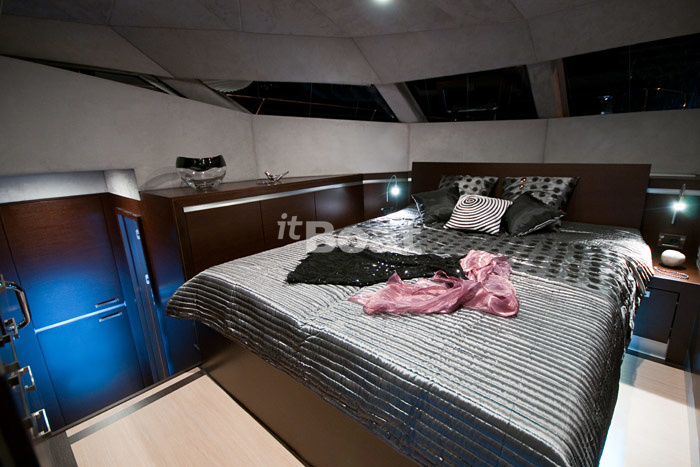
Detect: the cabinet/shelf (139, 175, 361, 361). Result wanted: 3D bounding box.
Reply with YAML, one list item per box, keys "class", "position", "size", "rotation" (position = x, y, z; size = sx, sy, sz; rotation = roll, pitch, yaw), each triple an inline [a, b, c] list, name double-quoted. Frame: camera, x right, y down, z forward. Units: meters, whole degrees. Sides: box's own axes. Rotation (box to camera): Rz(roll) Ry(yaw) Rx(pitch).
- class: "cabinet/shelf"
  position: [-1.000, 0.314, 3.604]
  size: [0.544, 1.163, 1.837]
  rotation: [9, 18, 41]

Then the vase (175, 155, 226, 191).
- class: "vase"
  position: [-1.563, -0.674, 4.244]
  size: [0.530, 0.428, 0.517]
  rotation: [-6, 20, -20]

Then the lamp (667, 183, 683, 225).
- class: "lamp"
  position: [3.248, -0.297, 4.005]
  size: [0.110, 0.396, 0.060]
  rotation: [-2, 14, 20]
